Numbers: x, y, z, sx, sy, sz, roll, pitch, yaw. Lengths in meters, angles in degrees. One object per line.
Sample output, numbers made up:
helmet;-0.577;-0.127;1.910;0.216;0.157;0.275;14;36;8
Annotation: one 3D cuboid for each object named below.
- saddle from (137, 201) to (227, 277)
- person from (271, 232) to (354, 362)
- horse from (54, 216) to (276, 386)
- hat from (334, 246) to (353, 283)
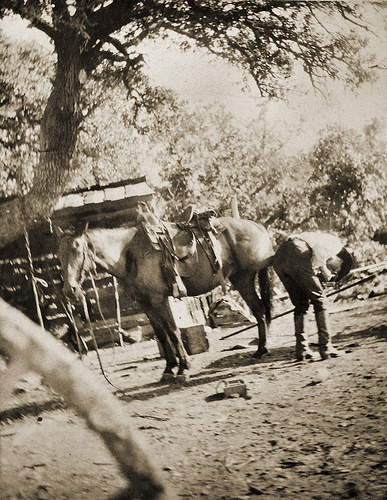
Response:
saddle;-0.027;-0.093;4.783;0.805;0.514;0.289;-10;15;34
person;0.839;0.280;4.434;0.522;0.823;0.396;-11;1;7
horse;-0.107;0.329;4.745;1.702;1.058;0.441;-7;4;-30
hat;1.012;0.091;4.557;0.100;0.235;0.121;-12;1;-19
